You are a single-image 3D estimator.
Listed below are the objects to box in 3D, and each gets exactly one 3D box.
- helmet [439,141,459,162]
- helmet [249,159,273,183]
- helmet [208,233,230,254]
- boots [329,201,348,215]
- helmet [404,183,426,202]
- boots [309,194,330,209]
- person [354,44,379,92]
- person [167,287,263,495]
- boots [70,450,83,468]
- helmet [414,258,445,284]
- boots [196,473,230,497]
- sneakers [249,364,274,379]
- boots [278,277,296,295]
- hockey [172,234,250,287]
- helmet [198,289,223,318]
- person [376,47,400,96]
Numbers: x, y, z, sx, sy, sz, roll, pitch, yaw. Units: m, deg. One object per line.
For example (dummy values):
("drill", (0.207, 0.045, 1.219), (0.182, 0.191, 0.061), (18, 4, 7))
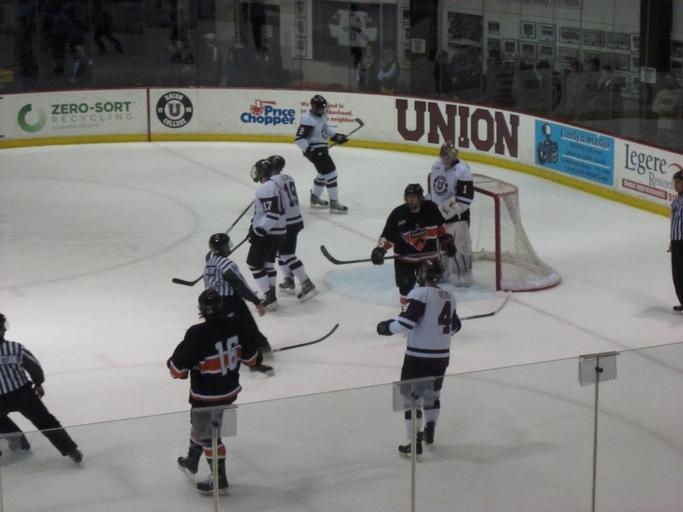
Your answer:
("helmet", (1.203, -1.152, 9.825), (0.213, 0.261, 0.269), (-1, 22, 2))
("helmet", (-0.807, -0.888, 9.192), (0.258, 0.253, 0.200), (6, 12, 45))
("helmet", (-1.085, -0.118, 7.797), (0.168, 0.194, 0.273), (-3, 18, -7))
("boots", (-0.059, -0.693, 12.722), (0.338, 0.228, 0.116), (-5, 16, 10))
("helmet", (0.702, -0.596, 8.431), (0.176, 0.205, 0.215), (2, 32, 7))
("boots", (-0.367, -0.834, 13.111), (0.336, 0.306, 0.138), (-5, 26, -7))
("person", (0.503, -3.742, 17.384), (0.520, 0.895, 0.298), (6, 20, 20))
("person", (-0.879, 0.851, 5.874), (0.633, 1.004, 1.091), (-1, 18, -3))
("boots", (-1.607, 1.224, 5.303), (0.072, 0.082, 0.095), (-9, -17, 17))
("helmet", (0.721, 0.124, 7.379), (0.276, 0.248, 0.207), (9, 6, -9))
("boots", (-0.802, 1.451, 5.526), (0.225, 0.146, 0.102), (4, 4, -6))
("sneakers", (-0.717, 1.057, 8.041), (0.295, 0.113, 0.116), (3, 11, 25))
("boots", (-0.611, 0.346, 9.923), (0.115, 0.162, 0.258), (-6, 20, -21))
("hockey", (-1.407, 0.074, 9.389), (1.319, 0.443, 0.079), (-26, 7, 46))
("helmet", (-0.913, 0.334, 6.201), (0.170, 0.191, 0.197), (2, 32, -5))
("person", (0.893, -3.615, 17.036), (0.442, 0.809, 0.392), (0, 19, 1))
